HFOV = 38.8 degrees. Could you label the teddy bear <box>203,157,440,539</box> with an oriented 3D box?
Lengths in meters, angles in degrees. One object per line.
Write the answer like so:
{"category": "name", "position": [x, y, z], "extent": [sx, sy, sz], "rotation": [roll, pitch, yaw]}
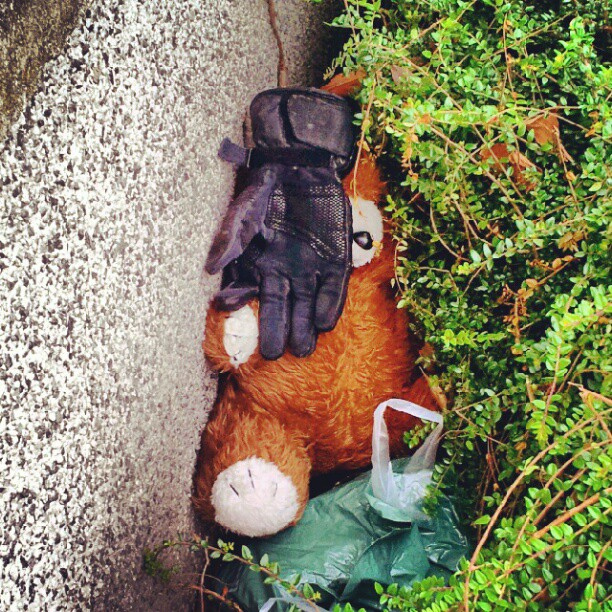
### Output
{"category": "teddy bear", "position": [0.047, 0.041, 1.414], "extent": [0.443, 0.578, 0.357], "rotation": [-2, 30, -9]}
